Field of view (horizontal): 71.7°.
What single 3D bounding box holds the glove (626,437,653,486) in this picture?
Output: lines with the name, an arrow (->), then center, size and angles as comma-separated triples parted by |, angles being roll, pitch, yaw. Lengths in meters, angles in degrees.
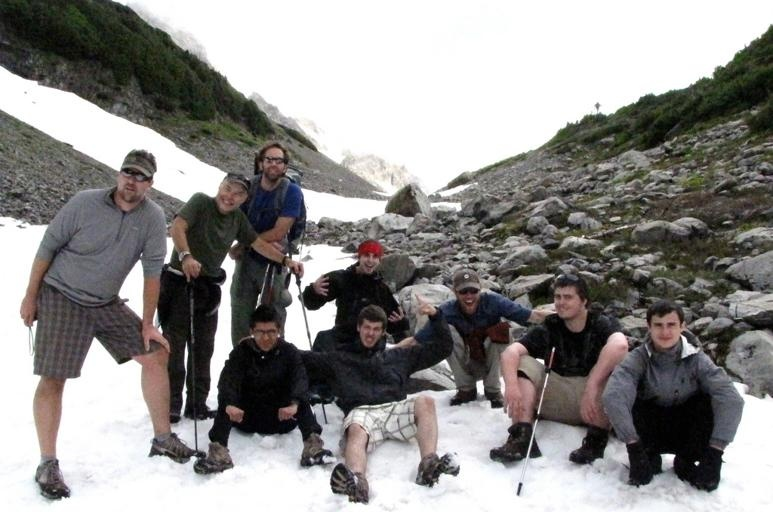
glove -> 3.299, 2.722, 6.984 | 0.340, 0.542, 0.100 | 7, -1, 10

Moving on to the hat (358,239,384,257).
hat -> -0.277, -0.137, 9.200 | 0.357, 0.278, 0.272 | 7, 4, 3

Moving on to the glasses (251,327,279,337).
glasses -> -1.815, 1.133, 7.958 | 0.377, 0.115, 0.117 | 7, -1, -10

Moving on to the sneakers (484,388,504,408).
sneakers -> 1.775, 2.375, 8.889 | 0.290, 0.294, 0.241 | 13, 21, 40

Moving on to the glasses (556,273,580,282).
glasses -> 2.662, 0.331, 7.845 | 0.321, 0.120, 0.185 | 7, -1, 18

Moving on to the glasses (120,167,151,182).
glasses -> -3.345, -1.077, 7.155 | 0.360, 0.187, 0.085 | 7, -1, -27

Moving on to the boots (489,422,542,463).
boots -> 1.764, 2.636, 7.548 | 0.541, 0.554, 0.305 | 7, -1, 12

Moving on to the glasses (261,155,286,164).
glasses -> -1.868, -1.609, 8.977 | 0.423, 0.175, 0.212 | 7, -1, -19

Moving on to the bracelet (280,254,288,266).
bracelet -> -1.665, 0.069, 8.829 | 0.125, 0.140, 0.057 | -4, -7, 29

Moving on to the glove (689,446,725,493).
glove -> 4.168, 2.781, 6.977 | 0.345, 0.582, 0.221 | 16, 6, 21

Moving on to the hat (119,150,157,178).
hat -> -3.305, -1.237, 7.167 | 0.363, 0.277, 0.477 | 21, -24, -15

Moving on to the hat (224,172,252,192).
hat -> -2.294, -1.133, 8.207 | 0.395, 0.300, 0.260 | 7, -1, -25

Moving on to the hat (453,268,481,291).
hat -> 1.333, 0.418, 8.847 | 0.422, 0.360, 0.376 | 7, -1, 11
